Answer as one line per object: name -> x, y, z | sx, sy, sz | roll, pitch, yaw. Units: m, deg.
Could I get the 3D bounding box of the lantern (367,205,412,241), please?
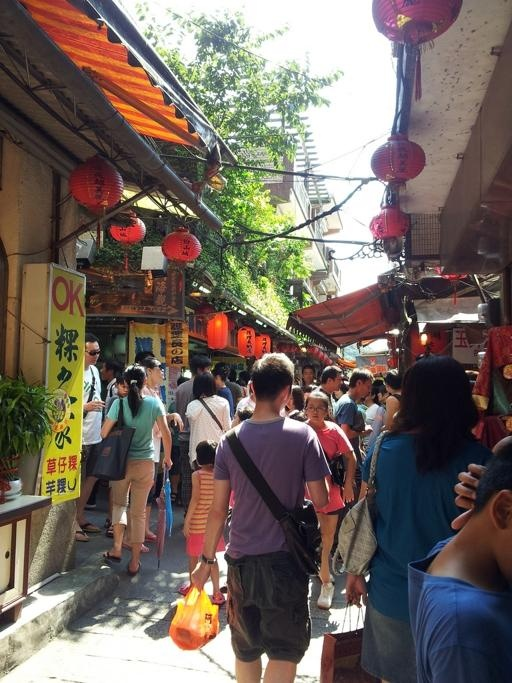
lantern -> 1.446, -1.296, 6.785 | 0.430, 0.342, 0.347 | -6, -11, 26

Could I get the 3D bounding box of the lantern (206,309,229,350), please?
lantern -> -0.760, -0.249, 12.164 | 0.406, 0.722, 0.504 | 0, -10, -7

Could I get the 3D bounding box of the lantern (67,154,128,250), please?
lantern -> -1.247, -1.308, 5.421 | 0.539, 0.664, 0.526 | 0, 1, -7

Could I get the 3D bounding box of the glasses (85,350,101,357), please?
glasses -> -1.839, 0.124, 6.922 | 0.147, 0.042, 0.142 | 1, 4, 21

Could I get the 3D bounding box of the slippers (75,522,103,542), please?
slippers -> -1.860, 2.072, 6.704 | 0.398, 0.089, 0.304 | -6, -9, 42

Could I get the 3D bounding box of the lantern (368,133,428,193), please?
lantern -> 1.172, -1.513, 5.120 | 0.423, 0.360, 0.269 | -4, -10, 13

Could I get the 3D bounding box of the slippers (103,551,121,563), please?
slippers -> -1.364, 2.049, 5.828 | 0.158, 0.053, 0.082 | 22, -2, 11

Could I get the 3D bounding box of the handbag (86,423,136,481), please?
handbag -> -1.294, 1.009, 5.610 | 0.361, 0.489, 0.207 | 1, -10, -14

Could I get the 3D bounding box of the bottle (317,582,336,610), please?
bottle -> 0.563, 2.034, 4.951 | 0.092, 0.091, 0.244 | -4, 13, 16

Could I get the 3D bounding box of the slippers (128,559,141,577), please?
slippers -> -1.106, 2.055, 5.601 | 0.121, 0.073, 0.280 | 1, -11, -4

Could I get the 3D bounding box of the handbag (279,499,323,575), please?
handbag -> 0.225, 0.907, 2.858 | 0.118, 0.280, 0.232 | -9, -14, 13

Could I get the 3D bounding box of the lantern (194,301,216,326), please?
lantern -> -1.018, -0.558, 12.535 | 0.422, 0.439, 0.253 | -15, -52, -3

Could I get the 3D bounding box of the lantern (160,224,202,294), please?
lantern -> -0.923, -1.195, 7.506 | 0.399, 0.447, 0.285 | -4, -10, 17
